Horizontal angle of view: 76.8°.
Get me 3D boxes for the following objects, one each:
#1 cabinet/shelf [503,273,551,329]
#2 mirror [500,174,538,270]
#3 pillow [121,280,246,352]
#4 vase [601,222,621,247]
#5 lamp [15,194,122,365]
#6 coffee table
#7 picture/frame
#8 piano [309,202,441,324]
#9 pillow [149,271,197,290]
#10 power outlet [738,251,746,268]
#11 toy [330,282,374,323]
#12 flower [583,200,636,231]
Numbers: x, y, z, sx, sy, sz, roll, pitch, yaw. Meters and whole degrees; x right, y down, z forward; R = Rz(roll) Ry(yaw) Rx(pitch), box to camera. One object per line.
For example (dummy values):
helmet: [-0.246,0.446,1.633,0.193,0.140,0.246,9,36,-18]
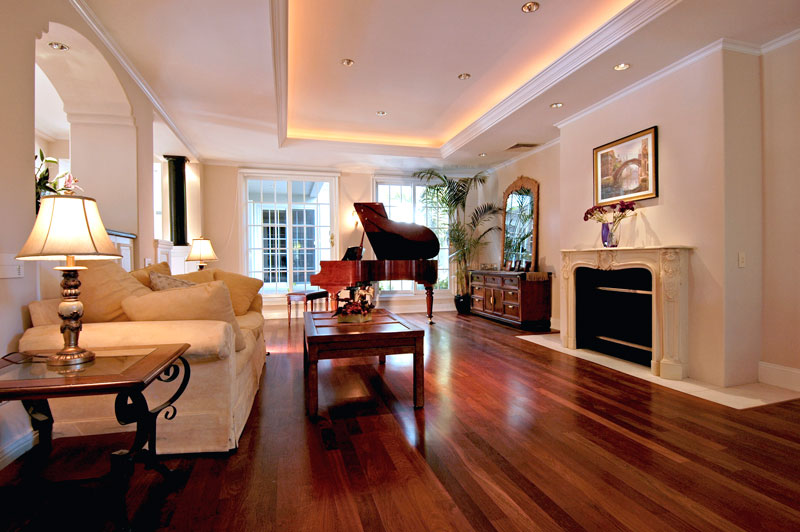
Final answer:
cabinet/shelf: [1.925,0.522,8.008,0.573,0.875,0.918,-1,1,-14]
mirror: [2.006,-0.723,8.510,0.310,1.567,1.022,0,2,-13]
pillow: [-1.701,0.359,4.021,0.538,0.213,0.545,10,-21,-3]
vase: [2.523,-0.375,6.030,0.186,0.294,0.197,1,2,23]
lamp: [-2.300,0.069,3.498,0.543,1.165,0.476,1,2,26]
coffee table: [-0.381,0.917,5.057,1.136,0.822,1.180,0,2,-11]
picture/frame: [2.689,-1.168,5.923,0.047,1.004,1.024,2,-2,-28]
piano: [-0.242,0.004,5.894,1.422,1.337,1.050,-1,3,0]
pillow: [-2.153,0.098,4.778,0.321,0.102,0.335,22,9,-38]
power outlet: [3.484,-0.063,5.117,0.120,0.151,0.008,0,2,-19]
toy: [-0.526,0.403,5.483,0.465,0.245,0.612,1,1,-6]
flower: [2.545,-0.612,6.051,0.337,0.203,0.340,-4,0,-19]
